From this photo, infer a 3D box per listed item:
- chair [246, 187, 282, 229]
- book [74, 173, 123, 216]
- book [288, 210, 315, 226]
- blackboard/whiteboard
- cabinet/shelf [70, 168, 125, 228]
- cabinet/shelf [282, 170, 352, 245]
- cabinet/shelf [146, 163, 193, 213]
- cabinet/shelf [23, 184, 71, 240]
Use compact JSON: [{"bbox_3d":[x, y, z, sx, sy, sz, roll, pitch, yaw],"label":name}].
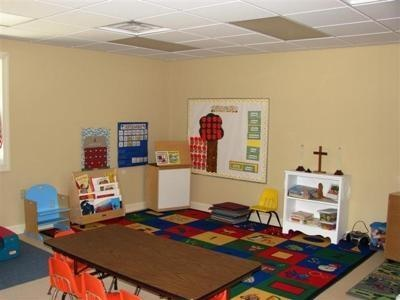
[{"bbox_3d":[1.362,1.239,6.314,0.571,0.732,0.564,1,0,41],"label":"chair"},{"bbox_3d":[-2.183,0.948,6.234,0.991,0.894,0.315,-5,2,-45],"label":"book"},{"bbox_3d":[1.976,1.330,5.804,0.285,0.090,0.287,5,6,39],"label":"book"},{"bbox_3d":[0.584,-0.275,6.940,2.246,1.744,0.086,2,0,-29],"label":"blackboard/whiteboard"},{"bbox_3d":[-2.185,1.006,6.187,0.604,1.142,1.258,-1,1,43],"label":"cabinet/shelf"},{"bbox_3d":[2.266,1.104,5.685,1.352,1.425,0.596,3,0,40],"label":"cabinet/shelf"},{"bbox_3d":[-0.814,0.879,7.422,1.086,1.030,0.738,-1,2,-34],"label":"cabinet/shelf"},{"bbox_3d":[-2.908,1.173,5.613,0.699,0.840,0.706,-3,-5,30],"label":"cabinet/shelf"}]
